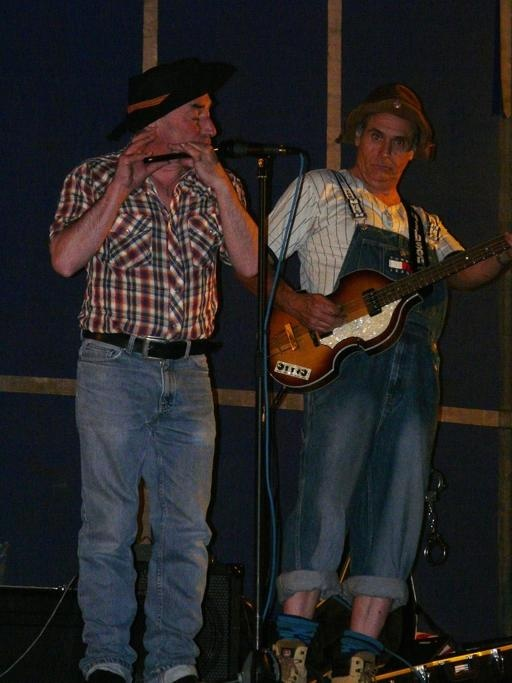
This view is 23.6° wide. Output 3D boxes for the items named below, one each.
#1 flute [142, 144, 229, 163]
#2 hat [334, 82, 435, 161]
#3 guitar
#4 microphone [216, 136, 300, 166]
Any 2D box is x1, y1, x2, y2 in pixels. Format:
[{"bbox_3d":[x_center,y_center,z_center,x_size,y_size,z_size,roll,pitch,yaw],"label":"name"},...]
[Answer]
[{"bbox_3d":[-0.212,-0.563,3.658,0.263,0.040,0.044,-8,38,-9],"label":"flute"},{"bbox_3d":[0.468,-0.767,4.313,0.258,0.169,0.310,13,-20,-2],"label":"hat"},{"bbox_3d":[0.417,-0.100,4.084,0.722,0.497,0.173,4,1,-12],"label":"guitar"},{"bbox_3d":[0.016,-0.572,3.667,0.250,0.058,0.159,4,0,-44],"label":"microphone"}]
